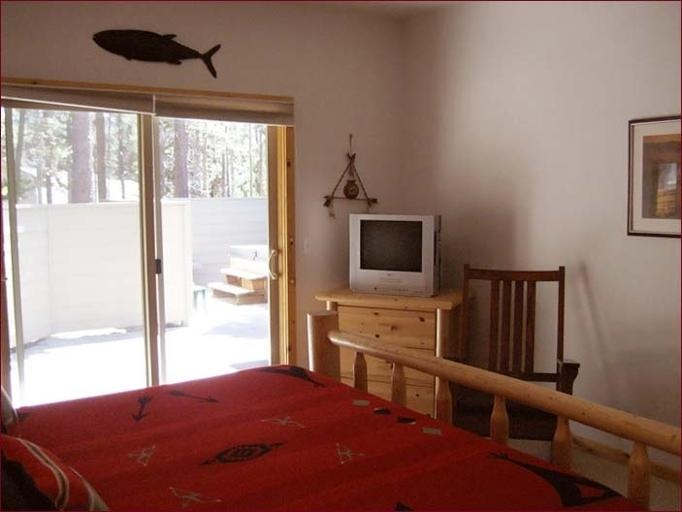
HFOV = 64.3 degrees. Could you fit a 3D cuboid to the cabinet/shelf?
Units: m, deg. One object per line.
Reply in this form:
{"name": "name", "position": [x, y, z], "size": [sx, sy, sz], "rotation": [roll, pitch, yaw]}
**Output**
{"name": "cabinet/shelf", "position": [0.435, 0.437, 3.817], "size": [1.119, 1.050, 0.746], "rotation": [1, 3, 25]}
